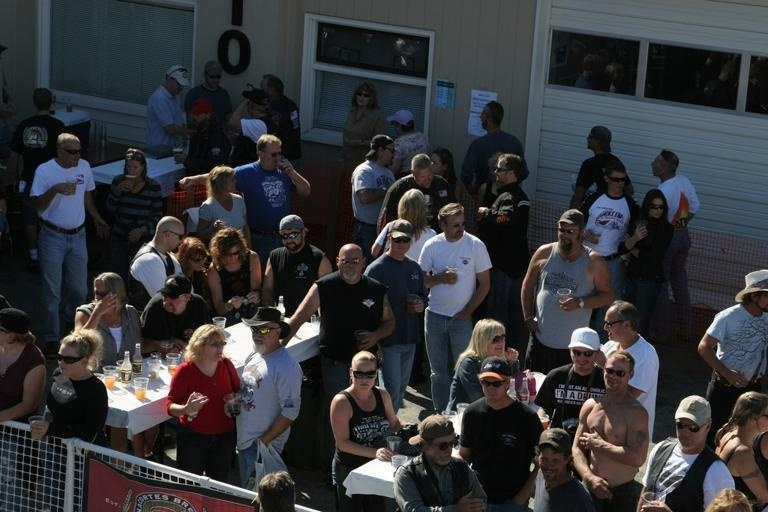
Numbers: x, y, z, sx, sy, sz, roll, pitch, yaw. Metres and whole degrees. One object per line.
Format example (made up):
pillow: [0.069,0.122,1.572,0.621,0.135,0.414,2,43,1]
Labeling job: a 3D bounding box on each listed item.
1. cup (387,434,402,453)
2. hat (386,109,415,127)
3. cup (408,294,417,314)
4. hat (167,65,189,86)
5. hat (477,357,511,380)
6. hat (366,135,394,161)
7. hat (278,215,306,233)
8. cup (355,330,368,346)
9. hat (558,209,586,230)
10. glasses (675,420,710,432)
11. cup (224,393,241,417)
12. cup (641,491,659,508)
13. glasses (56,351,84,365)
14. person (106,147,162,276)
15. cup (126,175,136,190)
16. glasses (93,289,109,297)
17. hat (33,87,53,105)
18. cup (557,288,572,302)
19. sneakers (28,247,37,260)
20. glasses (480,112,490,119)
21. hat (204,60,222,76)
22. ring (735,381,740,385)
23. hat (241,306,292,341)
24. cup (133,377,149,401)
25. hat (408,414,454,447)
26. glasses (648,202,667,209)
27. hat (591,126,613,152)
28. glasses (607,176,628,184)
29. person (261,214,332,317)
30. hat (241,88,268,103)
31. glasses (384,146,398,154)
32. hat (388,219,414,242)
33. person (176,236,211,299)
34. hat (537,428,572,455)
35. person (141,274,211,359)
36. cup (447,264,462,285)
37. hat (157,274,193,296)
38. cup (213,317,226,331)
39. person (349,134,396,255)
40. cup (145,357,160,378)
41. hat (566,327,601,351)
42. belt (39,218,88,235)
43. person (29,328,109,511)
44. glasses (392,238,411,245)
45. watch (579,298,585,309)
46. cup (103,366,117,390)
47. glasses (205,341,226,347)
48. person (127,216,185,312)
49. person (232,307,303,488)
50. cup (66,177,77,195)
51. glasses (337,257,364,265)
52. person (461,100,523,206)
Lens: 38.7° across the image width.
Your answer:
cup: [0.107,1.994,11.724,0.141,0.271,0.142,1,-1,0]
hat: [0.229,-2.084,16.651,0.353,0.209,0.266,25,36,30]
cup: [0.336,0.573,13.315,0.106,0.212,0.073,4,10,3]
hat: [-3.391,-2.988,18.071,0.377,0.214,0.265,36,20,13]
hat: [1.168,1.167,11.458,0.303,0.195,0.312,6,11,8]
hat: [-0.111,-1.605,15.703,0.397,0.323,0.295,-33,18,4]
hat: [-1.147,-0.423,13.705,0.249,0.182,0.262,4,5,39]
cup: [-0.272,0.961,12.959,0.144,0.168,0.153,0,8,0]
hat: [2.316,-0.483,13.476,0.290,0.189,0.404,6,12,7]
glasses: [3.135,1.698,11.057,0.328,0.137,0.129,7,11,8]
cup: [-1.692,1.640,12.114,0.187,0.237,0.207,0,-2,-3]
cup: [2.699,2.450,11.067,0.109,0.124,0.136,-11,13,-26]
glasses: [-3.405,1.080,11.712,0.288,0.106,0.120,8,11,13]
person: [-3.629,-0.302,15.862,0.713,2.472,0.646,3,17,-2]
cup: [-3.626,-1.049,15.531,0.155,0.181,0.149,5,21,-2]
glasses: [-3.334,0.431,12.762,0.109,0.093,0.121,7,29,19]
hat: [-5.228,-2.420,16.623,0.228,0.301,0.310,-4,54,-22]
cup: [2.235,0.471,13.500,0.189,0.171,0.104,6,11,9]
sneakers: [-5.423,-0.047,16.810,0.136,0.170,0.151,0,-2,16]
glasses: [1.505,-2.104,16.363,0.087,0.106,0.114,-2,57,-10]
hat: [-2.882,-3.124,18.297,0.280,0.241,0.285,2,11,-14]
ring: [4.225,1.496,13.022,0.055,0.041,0.015,0,1,14]
hat: [-1.233,0.716,12.245,0.332,0.178,0.425,-4,-32,25]
cup: [-2.737,1.473,12.311,0.189,0.239,0.197,1,-12,0]
hat: [0.474,1.784,10.966,0.403,0.270,0.306,-7,8,13]
glasses: [3.695,-0.683,14.671,0.222,0.068,0.072,0,12,-24]
hat: [3.197,-1.731,15.869,0.341,0.391,0.284,10,26,19]
glasses: [3.171,-1.039,14.740,0.280,0.083,0.121,0,12,-24]
person: [-1.147,0.189,13.888,0.880,1.456,0.840,5,5,13]
hat: [-2.052,-2.473,17.080,0.271,0.177,0.408,-16,35,-41]
glasses: [0.065,-1.526,15.655,0.119,0.037,0.119,38,19,19]
hat: [0.204,-0.326,13.400,0.279,0.232,0.253,3,11,-6]
person: [-2.421,0.166,13.701,0.265,0.759,0.380,14,39,33]
hat: [1.729,1.853,11.074,0.337,0.230,0.247,6,11,8]
person: [-2.518,0.733,12.978,0.542,0.852,0.462,15,35,-7]
cup: [0.888,0.238,13.823,0.216,0.229,0.137,-7,8,-35]
hat: [-2.479,0.341,12.925,0.296,0.189,0.209,5,7,-31]
cup: [-2.051,0.800,13.474,0.158,0.140,0.176,0,9,-3]
person: [-0.158,-0.816,15.474,0.614,2.064,0.776,13,34,20]
cup: [-2.661,1.280,12.647,0.186,0.249,0.176,3,-4,0]
hat: [2.239,0.909,12.132,0.292,0.248,0.359,8,12,17]
belt: [-4.515,-0.410,15.214,0.579,0.180,0.218,1,12,-18]
person: [-3.418,1.828,11.811,0.793,1.959,0.885,0,11,-20]
glasses: [0.209,-0.199,13.321,0.206,0.093,0.055,2,11,-14]
watch: [2.441,0.568,13.490,0.068,0.125,0.052,3,10,-3]
cup: [-3.124,1.367,12.397,0.190,0.241,0.197,6,0,0]
glasses: [-1.864,0.966,12.090,0.189,0.080,0.043,-4,13,-38]
person: [-2.903,0.111,13.835,0.451,1.474,0.551,3,27,-5]
person: [-1.301,1.593,12.191,0.700,2.024,0.472,2,10,-9]
cup: [-4.319,-0.955,15.039,0.114,0.179,0.356,2,12,-13]
glasses: [-0.401,0.051,13.000,0.302,0.132,0.184,3,11,-7]
person: [1.704,-1.293,16.829,0.988,2.357,0.789,-1,35,1]
